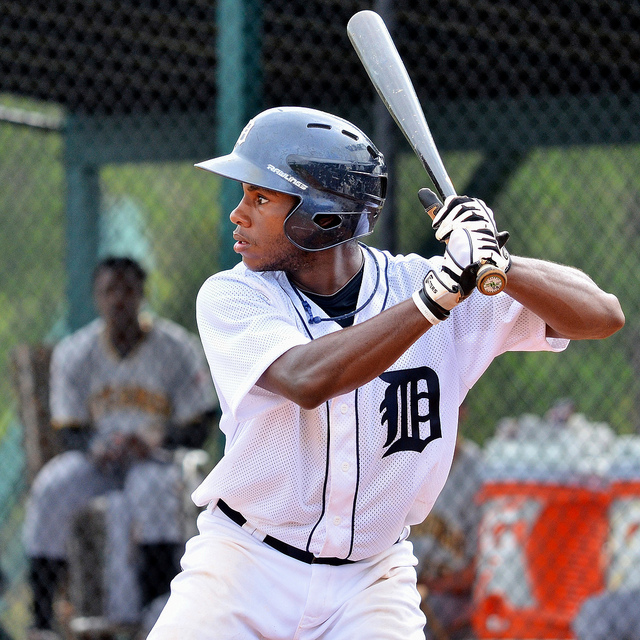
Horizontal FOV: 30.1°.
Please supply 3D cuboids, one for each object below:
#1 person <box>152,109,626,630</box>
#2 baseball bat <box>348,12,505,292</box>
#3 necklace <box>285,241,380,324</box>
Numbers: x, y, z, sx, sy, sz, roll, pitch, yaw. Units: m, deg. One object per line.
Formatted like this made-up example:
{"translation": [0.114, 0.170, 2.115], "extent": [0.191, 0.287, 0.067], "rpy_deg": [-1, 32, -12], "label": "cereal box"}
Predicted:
{"translation": [0.048, 0.119, 3.091], "extent": [0.874, 1.361, 0.498], "rpy_deg": [-1, 3, 10], "label": "person"}
{"translation": [0.402, -0.674, 4.404], "extent": [0.172, 1.576, 0.167], "rpy_deg": [-13, -31, -8], "label": "baseball bat"}
{"translation": [0.065, -0.105, 3.214], "extent": [0.282, 0.212, 0.179], "rpy_deg": [-4, 4, -39], "label": "necklace"}
